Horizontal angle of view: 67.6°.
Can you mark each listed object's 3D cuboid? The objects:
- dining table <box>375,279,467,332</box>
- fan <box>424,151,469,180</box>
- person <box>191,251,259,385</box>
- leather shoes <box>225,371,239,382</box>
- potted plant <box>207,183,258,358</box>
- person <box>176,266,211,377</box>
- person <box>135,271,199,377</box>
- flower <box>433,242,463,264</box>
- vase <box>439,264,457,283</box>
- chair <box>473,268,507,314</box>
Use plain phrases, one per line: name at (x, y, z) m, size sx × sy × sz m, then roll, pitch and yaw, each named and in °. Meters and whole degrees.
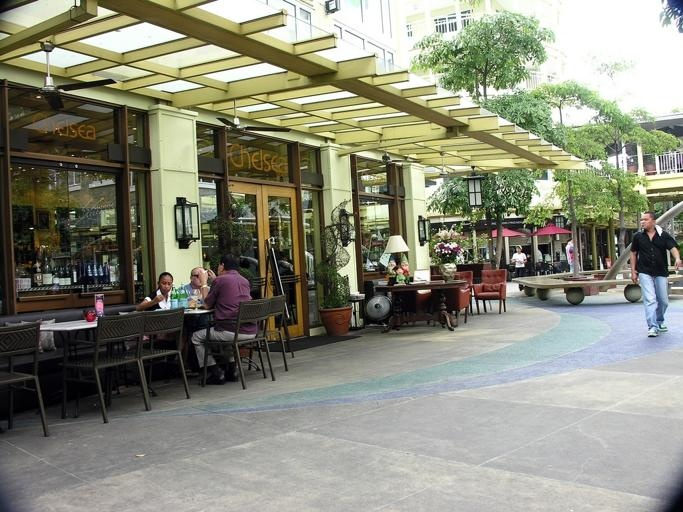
dining table at (1.970, 1.225, 12.187) m, size 1.635 × 1.217 × 1.763 m, roll 1°, pitch 0°, yaw 24°
fan at (3.481, -2.992, 16.725) m, size 1.463 × 0.437 × 1.356 m, roll -1°, pitch -4°, yaw 4°
person at (-1.756, 0.886, 7.296) m, size 1.038 × 1.762 × 0.884 m, roll 4°, pitch 2°, yaw 40°
leather shoes at (-1.603, 1.763, 7.435) m, size 0.225 × 0.132 × 0.123 m, roll 0°, pitch 0°, yaw 23°
potted plant at (-2.101, -0.550, 10.008) m, size 0.553 × 2.464 × 0.639 m, roll 0°, pitch 2°, yaw -35°
person at (-2.189, 1.006, 7.934) m, size 0.728 × 1.658 × 0.755 m, roll -1°, pitch 0°, yaw -43°
person at (-2.540, 0.993, 7.499) m, size 0.872 × 1.398 × 0.721 m, roll 3°, pitch 2°, yaw -11°
flower at (2.729, -0.064, 13.149) m, size 0.663 × 0.513 × 0.642 m, roll 0°, pitch -1°, yaw -45°
vase at (2.703, 0.413, 12.702) m, size 0.458 × 0.372 × 0.423 m, roll 0°, pitch -6°, yaw -9°
chair at (4.375, 1.013, 14.865) m, size 0.935 × 1.235 × 2.105 m, roll -6°, pitch -2°, yaw 14°
